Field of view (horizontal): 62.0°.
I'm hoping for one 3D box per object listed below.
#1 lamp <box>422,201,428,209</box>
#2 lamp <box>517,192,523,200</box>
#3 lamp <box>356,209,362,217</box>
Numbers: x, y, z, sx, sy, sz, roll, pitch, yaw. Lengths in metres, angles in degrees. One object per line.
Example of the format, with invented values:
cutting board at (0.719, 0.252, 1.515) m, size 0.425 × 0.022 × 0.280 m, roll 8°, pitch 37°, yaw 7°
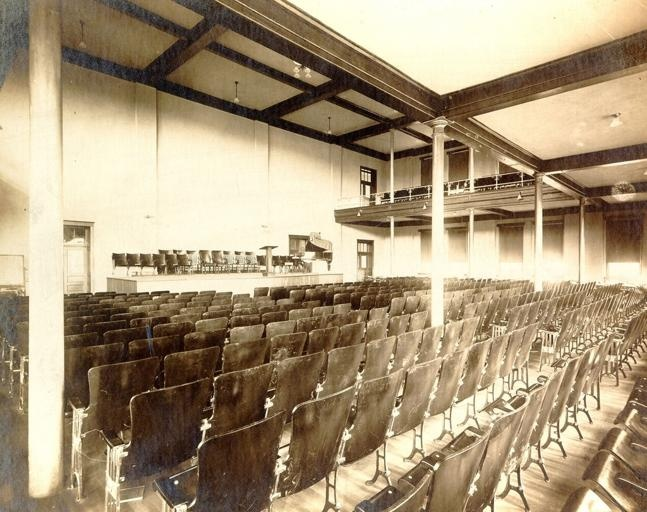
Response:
lamp at (3.438, -1.725, 18.251) m, size 0.188 × 0.362 × 0.187 m, roll -1°, pitch 2°, yaw 18°
lamp at (5.665, -1.716, 15.533) m, size 0.140 × 0.219 × 0.280 m, roll -2°, pitch -1°, yaw 22°
lamp at (1.428, -1.674, 21.208) m, size 0.085 × 0.225 × 0.305 m, roll -1°, pitch -1°, yaw -18°
